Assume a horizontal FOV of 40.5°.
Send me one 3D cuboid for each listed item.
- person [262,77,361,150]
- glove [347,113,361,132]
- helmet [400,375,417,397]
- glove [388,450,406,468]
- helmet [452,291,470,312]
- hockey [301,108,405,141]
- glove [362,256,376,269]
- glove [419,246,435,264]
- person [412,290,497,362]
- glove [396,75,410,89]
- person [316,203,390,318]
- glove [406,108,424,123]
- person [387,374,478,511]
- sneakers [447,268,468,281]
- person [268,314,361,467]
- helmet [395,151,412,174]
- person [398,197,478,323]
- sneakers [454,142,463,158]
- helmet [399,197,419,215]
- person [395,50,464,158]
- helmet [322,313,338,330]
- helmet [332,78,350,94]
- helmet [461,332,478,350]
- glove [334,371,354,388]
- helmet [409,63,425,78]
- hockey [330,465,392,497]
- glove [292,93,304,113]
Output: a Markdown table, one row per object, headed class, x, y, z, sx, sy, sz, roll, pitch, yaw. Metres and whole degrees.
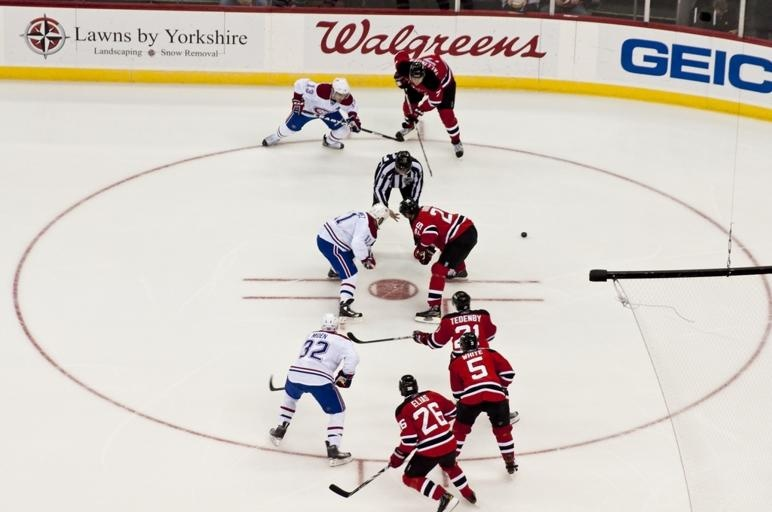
| class | x | y | z | sx | sy | sz | roll | pitch | yaw |
| --- | --- | --- | --- | --- | --- | --- | --- | --- | --- |
| person | -0.991 | -1.994 | 14.710 | 1.243 | 0.959 | 0.753 | -1 | 10 | 3 |
| glove | -0.438 | -1.873 | 14.719 | 0.163 | 0.253 | 0.122 | -21 | -8 | 21 |
| helmet | 0.223 | 1.305 | 10.624 | 0.174 | 0.183 | 0.209 | -1 | 21 | 0 |
| glove | 0.113 | 2.026 | 10.504 | 0.162 | 0.190 | 0.099 | 35 | 46 | 5 |
| helmet | 0.798 | 0.482 | 11.343 | 0.174 | 0.205 | 0.213 | -2 | 27 | -11 |
| hockey | -0.519 | -1.895 | 15.241 | 1.367 | 0.195 | 0.207 | 15 | 39 | -11 |
| glove | -0.213 | 0.079 | 12.226 | 0.150 | 0.149 | 0.124 | -5 | -12 | 37 |
| glove | 0.486 | -0.036 | 12.378 | 0.155 | 0.181 | 0.209 | 8 | 37 | -2 |
| person | 0.739 | 0.801 | 11.521 | 0.767 | 1.028 | 0.348 | -3 | 2 | 0 |
| glove | 0.209 | -2.441 | 14.708 | 0.162 | 0.160 | 0.127 | -23 | 6 | 43 |
| person | -0.390 | -0.059 | 12.437 | 0.891 | 1.193 | 1.356 | 1 | 21 | -5 |
| glove | 0.379 | -2.041 | 15.128 | 0.217 | 0.077 | 0.211 | -32 | 53 | -33 |
| person | 0.451 | 1.876 | 10.457 | 0.873 | 1.276 | 0.497 | -1 | 10 | 0 |
| sneakers | 0.866 | 0.233 | 12.663 | 0.297 | 0.121 | 0.103 | 2 | 16 | -6 |
| person | -0.723 | 1.370 | 10.925 | 0.829 | 1.443 | 0.656 | 1 | 10 | 12 |
| helmet | 0.213 | -1.158 | 12.825 | 0.197 | 0.218 | 0.259 | 0 | 3 | -2 |
| person | 0.663 | -0.075 | 12.533 | 0.956 | 1.322 | 1.513 | 3 | 19 | 23 |
| sneakers | 1.027 | -1.520 | 14.869 | 0.086 | 0.244 | 0.174 | -1 | 30 | 3 |
| helmet | 0.276 | -0.599 | 12.247 | 0.196 | 0.201 | 0.165 | 4 | 14 | 25 |
| person | 0.586 | -2.120 | 14.866 | 0.976 | 1.440 | 1.155 | -4 | 10 | -17 |
| helmet | -0.583 | 0.685 | 11.059 | 0.139 | 0.166 | 0.163 | 3 | -30 | 3 |
| helmet | -0.604 | -2.313 | 14.354 | 0.190 | 0.226 | 0.222 | -16 | -11 | -27 |
| helmet | 0.836 | 0.874 | 10.829 | 0.145 | 0.178 | 0.182 | 2 | 19 | -12 |
| glove | -0.447 | 1.292 | 10.971 | 0.150 | 0.114 | 0.187 | 13 | 2 | -21 |
| helmet | 0.413 | -2.535 | 14.237 | 0.198 | 0.195 | 0.200 | -1 | 10 | 0 |
| hockey | -0.254 | 2.270 | 10.432 | 0.615 | 0.290 | 0.468 | -3 | 10 | -9 |
| glove | -1.213 | -2.114 | 14.481 | 0.152 | 0.251 | 0.129 | -2 | 10 | -5 |
